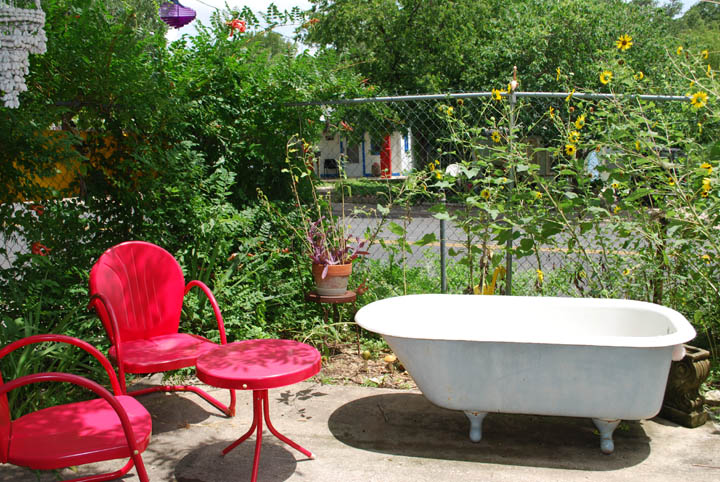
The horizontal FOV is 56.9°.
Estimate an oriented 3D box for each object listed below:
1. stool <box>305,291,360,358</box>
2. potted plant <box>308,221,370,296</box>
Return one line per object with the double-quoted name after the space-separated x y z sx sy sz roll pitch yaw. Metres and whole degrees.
-0.237 0.730 6.151 0.499 0.677 0.522 0 3 40 "stool"
-0.175 0.185 6.081 0.601 0.613 0.487 -2 2 -33 "potted plant"
